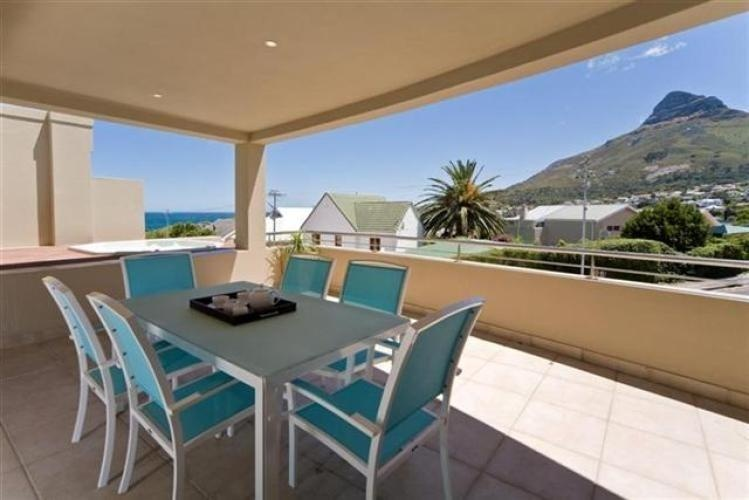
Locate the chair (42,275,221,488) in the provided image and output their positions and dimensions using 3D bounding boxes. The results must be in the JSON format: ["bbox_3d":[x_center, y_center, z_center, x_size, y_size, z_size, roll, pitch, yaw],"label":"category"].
[{"bbox_3d":[-2.043,0.749,3.960,1.319,2.033,1.477,10,13,41],"label":"chair"}]

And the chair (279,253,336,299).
[{"bbox_3d":[-0.650,0.242,4.159,0.429,0.500,0.736,13,5,-10],"label":"chair"}]

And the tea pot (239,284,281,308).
[{"bbox_3d":[-0.861,0.344,3.305,0.220,0.153,0.172,1,-1,-40],"label":"tea pot"}]
